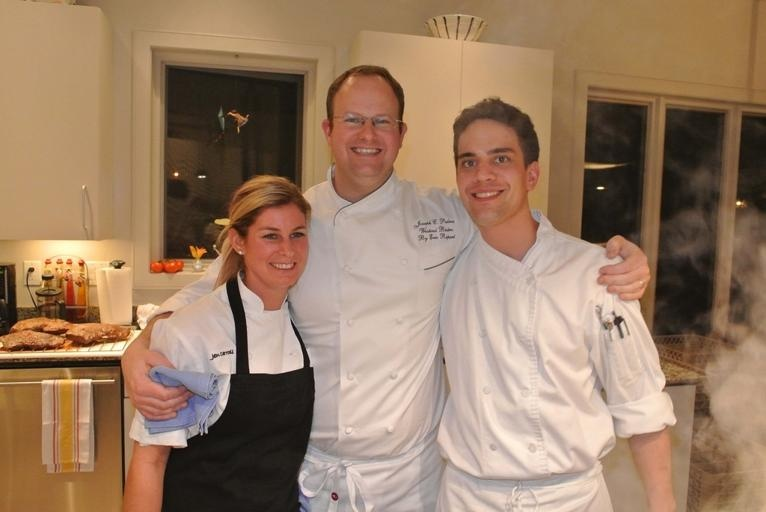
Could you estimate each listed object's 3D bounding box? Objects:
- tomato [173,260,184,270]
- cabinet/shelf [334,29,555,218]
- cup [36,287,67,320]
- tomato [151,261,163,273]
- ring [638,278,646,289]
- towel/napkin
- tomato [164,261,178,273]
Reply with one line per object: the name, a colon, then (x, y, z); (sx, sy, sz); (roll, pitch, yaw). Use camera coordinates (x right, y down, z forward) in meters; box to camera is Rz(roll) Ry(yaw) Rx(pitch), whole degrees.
tomato: (-1.337, 0.068, 4.662); (0.062, 0.059, 0.062); (-10, -18, -2)
cabinet/shelf: (0.305, -0.703, 3.743); (1.321, 1.179, 0.414); (1, 4, -5)
cup: (-2.102, 0.298, 4.506); (0.158, 0.203, 0.201); (-2, 1, -28)
tomato: (-1.475, 0.075, 4.650); (0.071, 0.070, 0.069); (23, -9, -27)
ring: (1.097, 0.117, 3.034); (0.018, 0.062, 0.015); (7, 35, 31)
towel/napkin: (-1.748, 0.944, 3.957); (0.251, 0.507, 0.055); (-1, 2, -2)
tomato: (-1.383, 0.073, 4.647); (0.069, 0.065, 0.069); (-7, -26, 0)
